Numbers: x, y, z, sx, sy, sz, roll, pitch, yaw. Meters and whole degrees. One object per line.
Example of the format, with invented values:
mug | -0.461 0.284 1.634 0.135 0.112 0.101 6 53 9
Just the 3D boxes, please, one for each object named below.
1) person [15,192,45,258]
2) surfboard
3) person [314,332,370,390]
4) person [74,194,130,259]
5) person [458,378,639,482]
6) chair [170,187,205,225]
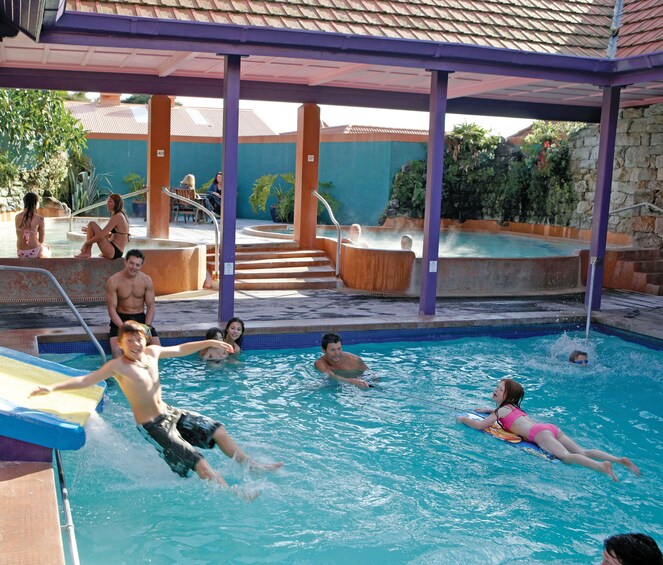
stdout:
person | -4.774 -0.947 8.718 0.374 1.049 0.439 -3 15 -30
surfboard | 1.533 1.387 5.077 0.220 0.112 0.816 -17 12 -22
person | 0.087 0.873 6.524 0.428 0.591 0.763 -19 23 -24
person | -3.538 -0.902 8.573 0.669 1.055 0.735 -2 15 -25
person | 1.808 1.228 4.707 0.485 0.433 1.313 -5 13 -34
chair | -4.817 -2.749 17.990 1.049 1.191 1.049 14 27 20
